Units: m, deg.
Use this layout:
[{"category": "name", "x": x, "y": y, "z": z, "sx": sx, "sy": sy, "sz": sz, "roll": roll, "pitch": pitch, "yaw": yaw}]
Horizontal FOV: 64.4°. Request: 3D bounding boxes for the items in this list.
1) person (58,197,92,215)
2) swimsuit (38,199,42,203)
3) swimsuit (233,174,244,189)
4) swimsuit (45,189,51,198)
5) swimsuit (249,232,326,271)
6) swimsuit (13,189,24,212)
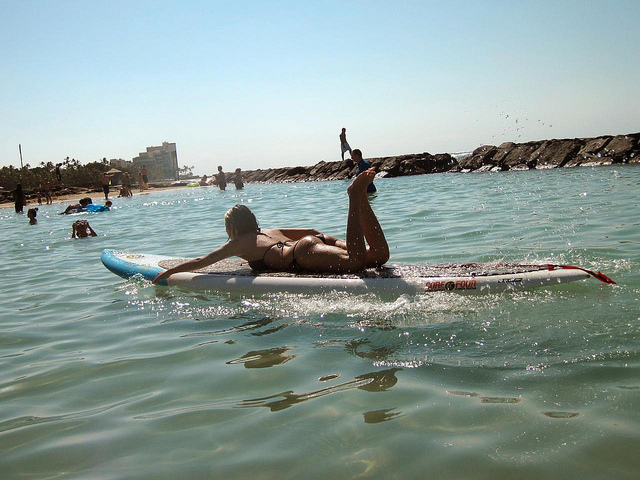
[{"category": "person", "x": -9.051, "y": -1.262, "z": 18.973, "sx": 1.078, "sy": 0.277, "sz": 0.743, "roll": -24, "pitch": 13, "yaw": -35}, {"category": "swimsuit", "x": -15.143, "y": -2.103, "z": 27.276, "sx": 0.086, "sy": 0.180, "sz": 1.110, "roll": -10, "pitch": 10, "yaw": -24}, {"category": "swimsuit", "x": -5.126, "y": -3.585, "z": 31.428, "sx": 0.426, "sy": 0.873, "sz": 1.112, "roll": -7, "pitch": 9, "yaw": -10}, {"category": "swimsuit", "x": -15.142, "y": -2.552, "z": 28.060, "sx": 0.234, "sy": 0.423, "sz": 0.755, "roll": -11, "pitch": 11, "yaw": -30}, {"category": "swimsuit", "x": -0.469, "y": 0.168, "z": 5.562, "sx": 0.748, "sy": 0.174, "sz": 0.449, "roll": -8, "pitch": 22, "yaw": 25}, {"category": "swimsuit", "x": -13.017, "y": -1.696, "z": 21.870, "sx": 0.323, "sy": 0.971, "sz": 0.498, "roll": -15, "pitch": 15, "yaw": -41}]
